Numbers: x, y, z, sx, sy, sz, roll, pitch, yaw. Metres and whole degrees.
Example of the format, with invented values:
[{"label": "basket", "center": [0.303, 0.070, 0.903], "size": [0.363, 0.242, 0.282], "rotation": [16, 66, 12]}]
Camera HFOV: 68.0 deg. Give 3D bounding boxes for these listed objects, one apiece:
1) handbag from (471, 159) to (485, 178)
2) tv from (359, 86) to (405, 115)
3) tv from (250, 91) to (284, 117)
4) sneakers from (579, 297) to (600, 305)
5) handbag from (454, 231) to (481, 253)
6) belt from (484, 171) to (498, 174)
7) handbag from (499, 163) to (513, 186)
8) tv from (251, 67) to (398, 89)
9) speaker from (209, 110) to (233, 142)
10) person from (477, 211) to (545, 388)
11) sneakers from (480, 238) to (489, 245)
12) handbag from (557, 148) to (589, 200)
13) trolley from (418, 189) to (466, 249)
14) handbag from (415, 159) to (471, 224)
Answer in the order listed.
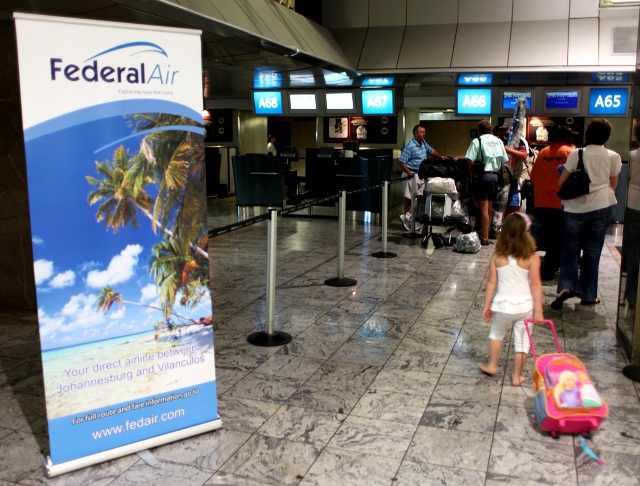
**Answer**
[{"label": "handbag", "center": [2.712, -1.287, 8.208], "size": [0.302, 0.315, 0.139], "rotation": [8, 17, 40]}, {"label": "tv", "center": [1.330, -3.177, 10.792], "size": [0.711, 0.399, 0.688], "rotation": [0, 11, 11]}, {"label": "tv", "center": [-1.266, -3.437, 11.655], "size": [0.914, 0.595, 0.123], "rotation": [4, 20, 15]}, {"label": "sneakers", "center": [3.010, 0.652, 5.312], "size": [0.233, 0.076, 0.079], "rotation": [-7, 18, -10]}, {"label": "handbag", "center": [2.475, 0.002, 7.936], "size": [0.419, 0.284, 0.296], "rotation": [1, 14, 19]}, {"label": "belt", "center": [2.949, -1.215, 8.171], "size": [0.226, 0.053, 0.050], "rotation": [-6, 13, -13]}, {"label": "handbag", "center": [3.307, -1.213, 8.472], "size": [0.113, 0.395, 0.294], "rotation": [3, -23, 25]}, {"label": "tv", "center": [-0.016, -3.477, 10.288], "size": [3.228, 0.275, 2.268], "rotation": [-1, 13, 9]}, {"label": "speaker", "center": [-2.924, -3.583, 14.309], "size": [0.932, 0.807, 0.484], "rotation": [5, 14, 16]}, {"label": "person", "center": [1.445, 0.444, 3.587], "size": [0.404, 1.301, 0.411], "rotation": [1, 14, 18]}, {"label": "sneakers", "center": [2.920, -0.015, 8.413], "size": [0.063, 0.117, 0.185], "rotation": [7, 20, 28]}, {"label": "handbag", "center": [2.603, -0.698, 4.855], "size": [0.278, 0.510, 0.169], "rotation": [2, 14, 22]}, {"label": "trolley", "center": [2.262, -0.493, 8.734], "size": [0.853, 0.946, 1.297], "rotation": [1, 13, 16]}, {"label": "handbag", "center": [2.466, -1.051, 9.108], "size": [1.157, 1.281, 1.153], "rotation": [5, 10, 28]}]
